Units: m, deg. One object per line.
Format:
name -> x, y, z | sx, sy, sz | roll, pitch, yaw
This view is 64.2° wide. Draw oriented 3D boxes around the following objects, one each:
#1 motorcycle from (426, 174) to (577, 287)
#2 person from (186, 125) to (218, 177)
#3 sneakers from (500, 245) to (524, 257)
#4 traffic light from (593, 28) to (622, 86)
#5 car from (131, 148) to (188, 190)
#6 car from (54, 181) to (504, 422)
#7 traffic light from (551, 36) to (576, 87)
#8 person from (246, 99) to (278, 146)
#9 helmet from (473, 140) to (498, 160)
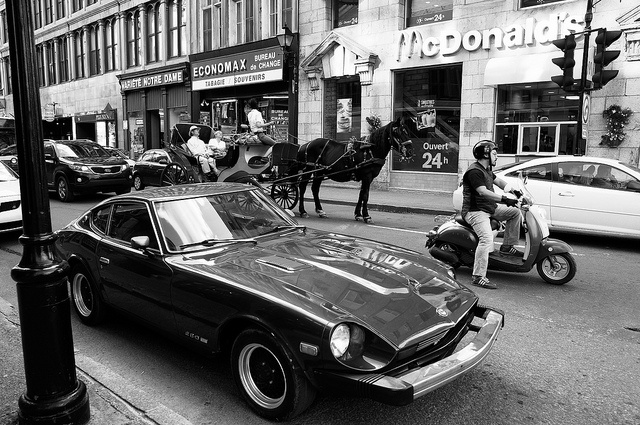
motorcycle -> 3.329, 0.286, 9.463 | 2.695, 1.966, 1.374 | 4, 11, 22
person -> -3.653, -1.924, 16.021 | 0.673, 1.410, 2.228 | -11, 22, -26
sneakers -> 3.351, 0.693, 9.070 | 0.460, 0.209, 0.161 | 5, 7, 12
traffic light -> 7.342, -3.948, 13.137 | 0.580, 1.475, 1.247 | 6, 14, 27
car -> -5.562, -1.493, 17.841 | 3.402, 1.444, 1.482 | 2, 5, 39
car -> -0.890, 0.789, 6.778 | 6.064, 2.153, 2.379 | 8, 15, 33
traffic light -> 6.525, -3.994, 13.652 | 0.567, 1.424, 1.239 | 6, 14, 26
person -> -1.710, -2.394, 15.259 | 0.930, 1.852, 0.733 | -5, 7, -41
helmet -> 2.744, -1.069, 8.590 | 0.344, 0.314, 0.315 | -22, 6, 12
